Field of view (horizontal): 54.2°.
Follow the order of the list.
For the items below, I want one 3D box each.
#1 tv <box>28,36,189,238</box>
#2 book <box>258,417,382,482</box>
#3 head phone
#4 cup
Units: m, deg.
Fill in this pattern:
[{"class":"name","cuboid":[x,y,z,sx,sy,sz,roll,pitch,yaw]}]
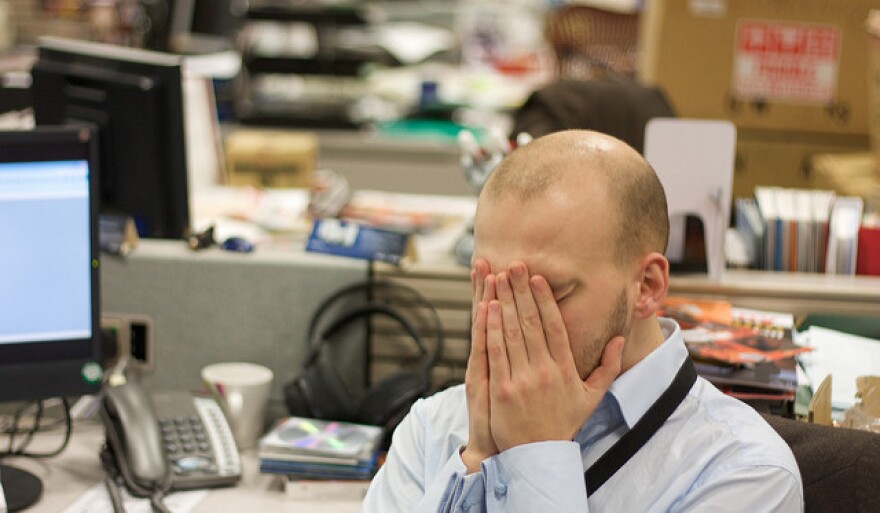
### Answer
[{"class":"tv","cuboid":[-0.952,-0.344,2.545,0.598,0.556,0.142,1,12,4]},{"class":"book","cuboid":[-0.321,0.526,2.358,0.203,0.047,0.198,2,13,2]},{"class":"head phone","cuboid":[-0.226,0.300,2.474,0.402,0.493,0.180,9,-11,7]},{"class":"cup","cuboid":[-0.567,0.409,2.449,0.219,0.199,0.228,-1,8,0]}]
